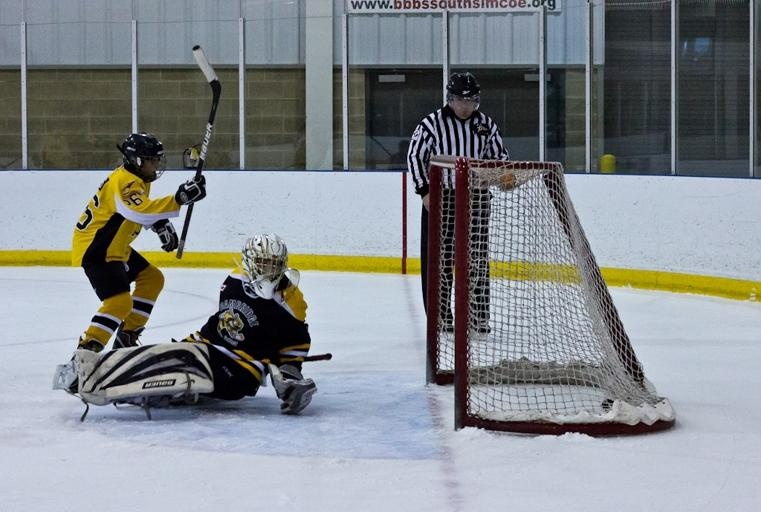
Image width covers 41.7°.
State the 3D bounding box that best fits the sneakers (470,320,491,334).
[{"bbox_3d":[0.600,0.422,5.997,0.109,0.080,0.114,0,1,-6],"label":"sneakers"}]

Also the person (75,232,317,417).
[{"bbox_3d":[-0.988,0.446,5.500,1.162,0.726,0.929,-7,15,-33],"label":"person"}]

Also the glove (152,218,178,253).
[{"bbox_3d":[-1.318,-0.146,6.277,0.170,0.194,0.081,-6,15,27],"label":"glove"}]

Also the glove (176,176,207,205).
[{"bbox_3d":[-1.123,-0.389,6.016,0.183,0.158,0.084,-42,7,-17],"label":"glove"}]

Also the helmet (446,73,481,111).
[{"bbox_3d":[0.521,-1.038,6.357,0.217,0.258,0.267,-1,31,-5],"label":"helmet"}]

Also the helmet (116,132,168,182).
[{"bbox_3d":[-1.448,-0.605,6.112,0.292,0.286,0.223,13,11,13],"label":"helmet"}]

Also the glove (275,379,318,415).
[{"bbox_3d":[-0.458,0.772,5.521,0.194,0.181,0.158,13,10,-11],"label":"glove"}]

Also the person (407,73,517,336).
[{"bbox_3d":[0.486,-0.334,6.264,0.632,1.579,0.957,1,9,3],"label":"person"}]

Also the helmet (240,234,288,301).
[{"bbox_3d":[-0.635,0.050,5.531,0.248,0.338,0.209,-1,9,-9],"label":"helmet"}]
